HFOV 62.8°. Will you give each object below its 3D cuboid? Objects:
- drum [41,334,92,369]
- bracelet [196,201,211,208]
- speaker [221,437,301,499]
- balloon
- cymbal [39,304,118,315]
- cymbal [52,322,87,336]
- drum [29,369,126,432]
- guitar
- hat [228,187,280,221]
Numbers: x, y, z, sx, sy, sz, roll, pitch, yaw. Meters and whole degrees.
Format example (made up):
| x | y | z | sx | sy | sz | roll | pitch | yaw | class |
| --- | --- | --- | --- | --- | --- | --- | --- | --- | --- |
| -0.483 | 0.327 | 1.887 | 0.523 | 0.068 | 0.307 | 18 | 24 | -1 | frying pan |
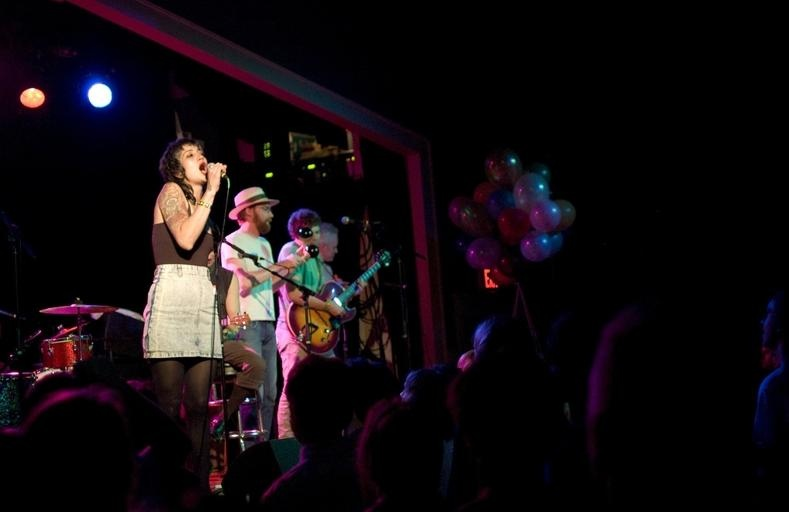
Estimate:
| x | y | z | sx | sy | sz | roll | pitch | yaw | class |
| --- | --- | --- | --- | --- | --- | --- | --- | --- | --- |
| -3.408 | 0.996 | 6.727 | 0.517 | 0.367 | 0.537 | 0 | -6 | 0 | drum |
| -1.383 | -0.374 | 4.707 | 0.064 | 0.066 | 0.017 | 4 | -26 | -25 | bracelet |
| -0.892 | 1.336 | 4.242 | 0.332 | 0.300 | 0.435 | 0 | -6 | 32 | speaker |
| 1.579 | -0.632 | 8.684 | 1.476 | 1.474 | 0.629 | -7 | -14 | 30 | balloon |
| -3.392 | 0.594 | 7.151 | 0.410 | 0.091 | 0.426 | -3 | -4 | 7 | cymbal |
| -3.852 | 0.862 | 7.652 | 0.208 | 0.052 | 0.204 | -24 | 3 | -41 | cymbal |
| -1.721 | 0.748 | 3.448 | 0.532 | 0.264 | 0.376 | -6 | -14 | 26 | drum |
| -0.624 | 0.518 | 7.032 | 0.141 | 0.500 | 1.247 | -27 | 17 | 41 | guitar |
| -1.405 | -0.588 | 6.576 | 0.413 | 0.177 | 0.449 | 2 | -12 | -30 | hat |
